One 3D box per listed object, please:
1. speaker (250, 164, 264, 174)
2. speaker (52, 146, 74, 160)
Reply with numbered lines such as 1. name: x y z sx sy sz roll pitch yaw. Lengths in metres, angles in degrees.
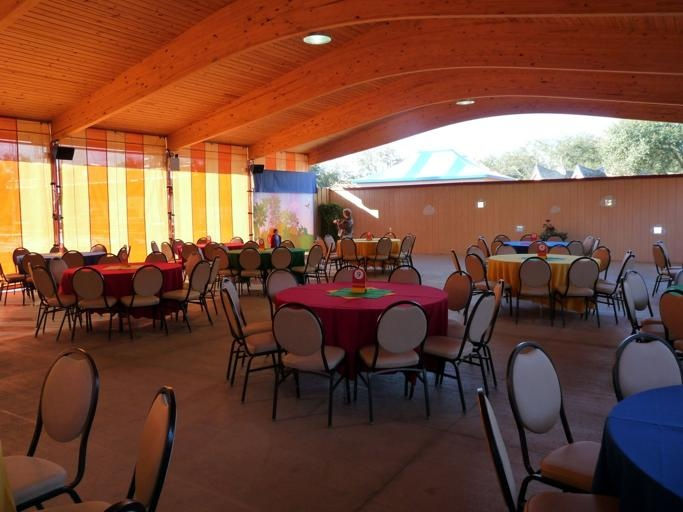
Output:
1. speaker: -2.551 -2.622 14.806 0.430 0.301 0.236 4 21 15
2. speaker: -5.990 -2.178 10.483 0.387 0.283 0.410 -2 4 -31
